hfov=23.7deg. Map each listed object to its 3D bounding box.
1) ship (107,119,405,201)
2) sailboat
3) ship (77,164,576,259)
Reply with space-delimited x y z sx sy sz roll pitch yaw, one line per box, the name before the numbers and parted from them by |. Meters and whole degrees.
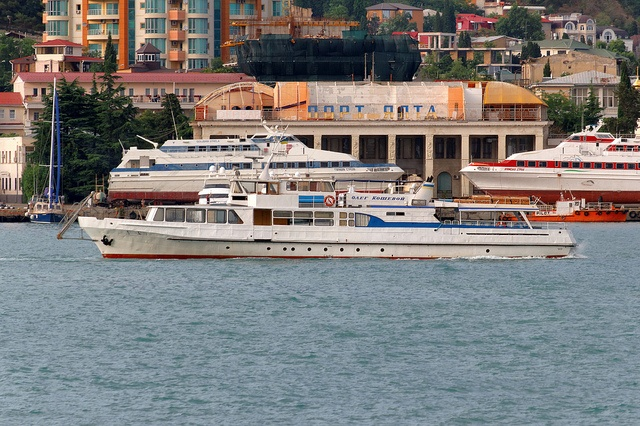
ship | -6.087 -4.555 143.816 28.399 6.389 6.766 0 5 -11
sailboat | -26.501 -5.936 148.403 3.155 13.087 10.953 -2 6 -9
ship | -0.028 0.001 122.292 45.267 7.740 8.578 0 -1 -15
